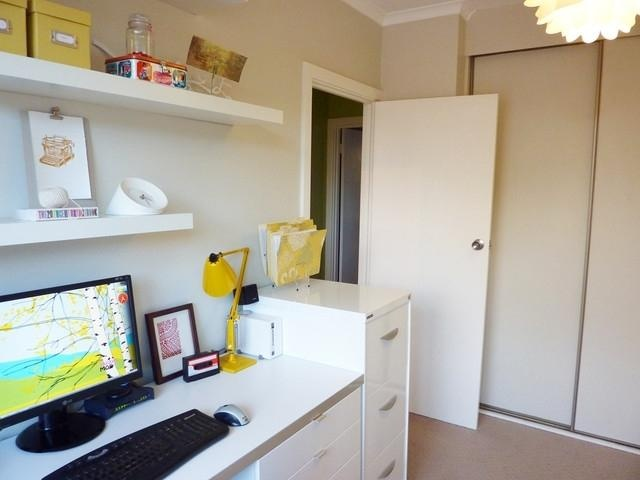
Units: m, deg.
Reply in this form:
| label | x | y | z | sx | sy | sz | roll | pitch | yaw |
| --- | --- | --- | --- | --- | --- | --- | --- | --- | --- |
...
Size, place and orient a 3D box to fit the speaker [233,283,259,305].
| label | x | y | z | sx | sy | sz | roll | pitch | yaw |
| --- | --- | --- | --- | --- | --- | --- | --- | --- | --- |
| speaker | -0.342 | 0.262 | 2.232 | 0.087 | 0.126 | 0.127 | 3 | 10 | 33 |

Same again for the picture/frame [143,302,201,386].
| label | x | y | z | sx | sy | sz | roll | pitch | yaw |
| --- | --- | --- | --- | --- | --- | --- | --- | --- | --- |
| picture/frame | -0.630 | 0.446 | 1.960 | 0.023 | 0.343 | 0.282 | -10 | 2 | 31 |

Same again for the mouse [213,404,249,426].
| label | x | y | z | sx | sy | sz | roll | pitch | yaw |
| --- | --- | --- | --- | --- | --- | --- | --- | --- | --- |
| mouse | -0.313 | 0.623 | 1.655 | 0.103 | 0.040 | 0.062 | 13 | 14 | 31 |
